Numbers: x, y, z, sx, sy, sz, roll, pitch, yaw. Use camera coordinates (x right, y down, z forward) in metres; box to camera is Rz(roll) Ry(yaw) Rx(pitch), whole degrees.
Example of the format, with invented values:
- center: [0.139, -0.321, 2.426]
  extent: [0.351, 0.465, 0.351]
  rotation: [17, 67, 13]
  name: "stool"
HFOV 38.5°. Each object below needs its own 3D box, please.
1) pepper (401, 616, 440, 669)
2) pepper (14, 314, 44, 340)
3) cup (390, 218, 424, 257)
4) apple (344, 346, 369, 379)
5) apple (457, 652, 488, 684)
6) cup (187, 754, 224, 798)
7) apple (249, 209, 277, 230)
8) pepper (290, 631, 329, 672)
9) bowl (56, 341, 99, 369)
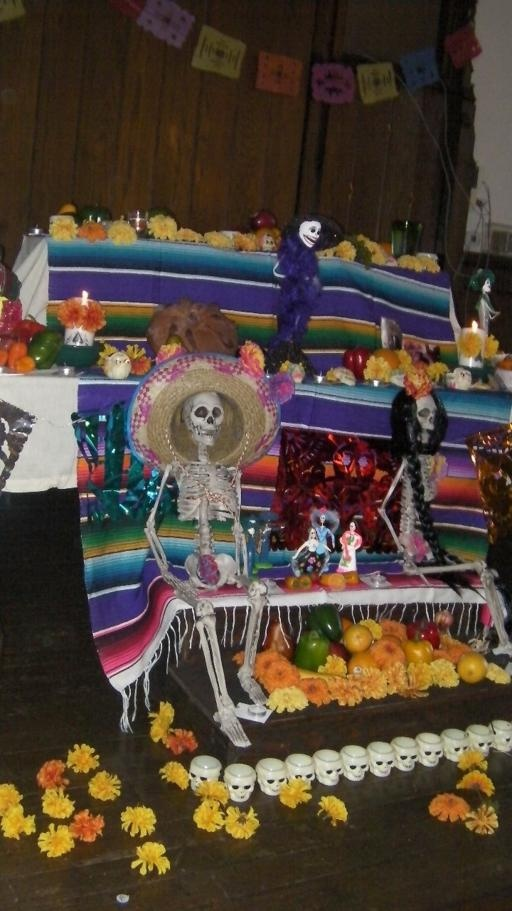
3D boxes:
- center: [0.557, 0.658, 2.537]
  extent: [0.106, 0.152, 0.108]
  rotation: [0, 1, -23]
  name: "pepper"
- center: [-0.847, -0.473, 2.727]
  extent: [0.088, 0.111, 0.086]
  rotation: [2, 6, -34]
  name: "pepper"
- center: [0.787, -1.195, 4.024]
  extent: [0.205, 0.231, 0.204]
  rotation: [-2, 14, 0]
  name: "cup"
- center: [0.427, -0.401, 3.261]
  extent: [0.134, 0.172, 0.133]
  rotation: [-1, -10, 1]
  name: "apple"
- center: [0.706, 0.705, 2.412]
  extent: [0.095, 0.094, 0.088]
  rotation: [6, -35, 9]
  name: "apple"
- center: [-0.124, 0.825, 1.867]
  extent: [0.065, 0.072, 0.081]
  rotation: [3, -13, 22]
  name: "cup"
- center: [0.033, -1.177, 3.687]
  extent: [0.138, 0.130, 0.228]
  rotation: [4, 6, -2]
  name: "apple"
- center: [0.181, 0.640, 2.437]
  extent: [0.105, 0.156, 0.112]
  rotation: [7, -3, 13]
  name: "pepper"
- center: [-0.684, -0.382, 2.831]
  extent: [0.127, 0.101, 0.178]
  rotation: [7, 7, 19]
  name: "bowl"
